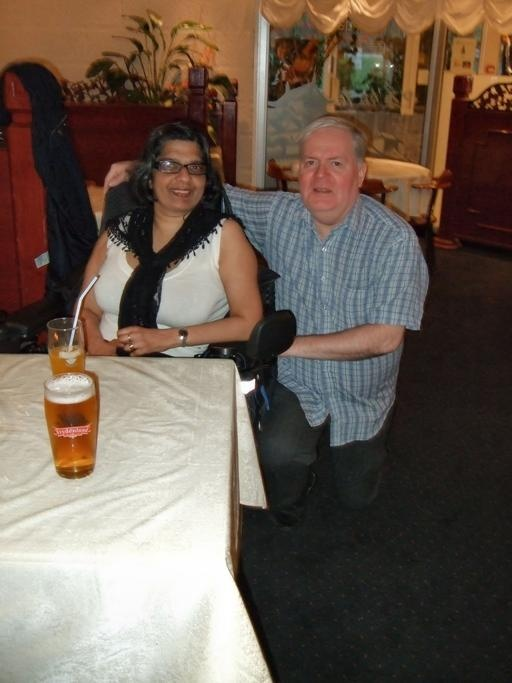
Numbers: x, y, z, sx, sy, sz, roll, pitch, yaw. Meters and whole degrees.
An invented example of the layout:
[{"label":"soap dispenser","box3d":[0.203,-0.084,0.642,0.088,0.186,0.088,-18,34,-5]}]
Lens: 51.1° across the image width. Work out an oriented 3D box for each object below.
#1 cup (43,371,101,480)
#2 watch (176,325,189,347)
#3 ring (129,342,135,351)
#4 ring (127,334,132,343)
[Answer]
[{"label":"cup","box3d":[-0.286,0.122,0.844,0.076,0.141,0.150,-6,21,-18]},{"label":"watch","box3d":[-0.221,-0.011,1.636,0.038,0.058,0.022,-8,22,-22]},{"label":"ring","box3d":[-0.366,0.013,1.609,0.016,0.025,0.026,4,12,13]},{"label":"ring","box3d":[-0.370,-0.006,1.588,0.014,0.018,0.018,2,3,0]}]
